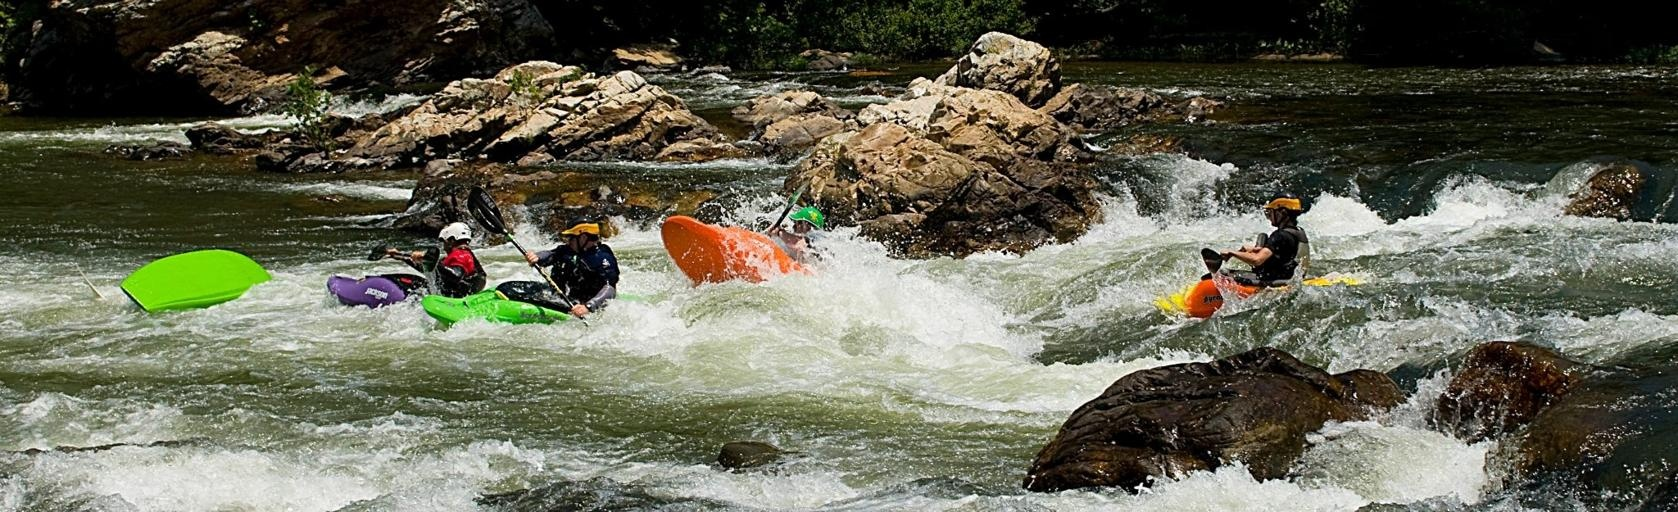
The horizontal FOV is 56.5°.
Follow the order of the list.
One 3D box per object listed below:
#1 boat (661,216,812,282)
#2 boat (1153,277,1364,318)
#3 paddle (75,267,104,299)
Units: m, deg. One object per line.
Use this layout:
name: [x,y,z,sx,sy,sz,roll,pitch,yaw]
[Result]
boat: [-6.039,-0.271,81.268,6.534,3.550,1.256,0,12,-3]
boat: [21.577,2.175,79.542,9.253,1.972,1.605,1,24,6]
paddle: [-39.150,1.477,81.219,2.731,0.431,0.413,33,9,31]
